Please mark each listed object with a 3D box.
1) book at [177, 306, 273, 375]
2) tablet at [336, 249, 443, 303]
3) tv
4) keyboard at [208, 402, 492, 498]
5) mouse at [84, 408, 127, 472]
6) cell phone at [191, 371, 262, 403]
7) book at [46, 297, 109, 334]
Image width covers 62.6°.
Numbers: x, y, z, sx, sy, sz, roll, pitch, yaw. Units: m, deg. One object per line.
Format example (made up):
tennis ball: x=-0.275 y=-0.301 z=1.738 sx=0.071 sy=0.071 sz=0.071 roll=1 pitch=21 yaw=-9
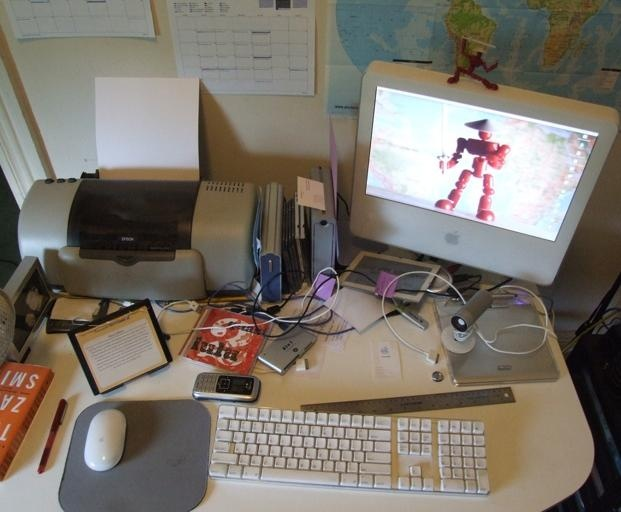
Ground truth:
book: x=-0.199 y=0.204 z=1.235 sx=0.146 sy=0.032 sz=0.140 roll=16 pitch=48 yaw=10
tablet: x=0.215 y=0.048 z=1.342 sx=0.195 sy=0.046 sz=0.130 roll=17 pitch=48 yaw=21
tv: x=0.364 y=-0.182 z=1.200 sx=0.531 sy=0.423 sz=0.101 roll=15 pitch=39 yaw=17
keyboard: x=0.079 y=0.395 z=1.047 sx=0.553 sy=0.062 sz=0.134 roll=3 pitch=38 yaw=2
mouse: x=-0.427 y=0.372 z=1.063 sx=0.086 sy=0.037 sz=0.142 roll=16 pitch=34 yaw=-18
cell phone: x=-0.185 y=0.289 z=1.125 sx=0.130 sy=0.040 sz=0.065 roll=4 pitch=54 yaw=-1
book: x=-0.589 y=0.115 z=1.243 sx=0.107 sy=0.026 sz=0.106 roll=-1 pitch=39 yaw=-7
